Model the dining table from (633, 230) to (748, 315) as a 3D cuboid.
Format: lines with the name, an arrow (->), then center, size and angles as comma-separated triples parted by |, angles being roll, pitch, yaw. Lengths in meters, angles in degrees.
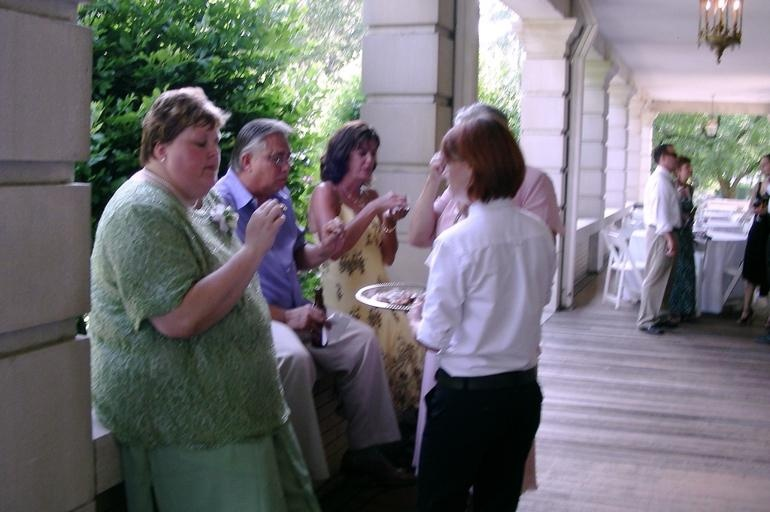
dining table -> 4.581, 0.155, 7.994 | 1.256, 0.860, 1.296 | 9, 20, 36

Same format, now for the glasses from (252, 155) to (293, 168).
glasses -> -0.554, -0.487, 2.874 | 0.126, 0.070, 0.167 | 0, 4, -10

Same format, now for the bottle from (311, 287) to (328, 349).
bottle -> -0.359, 0.329, 3.025 | 0.083, 0.349, 0.100 | 4, 9, 29

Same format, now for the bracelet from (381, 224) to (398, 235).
bracelet -> 0.018, -0.168, 3.512 | 0.089, 0.061, 0.121 | 0, 2, 2

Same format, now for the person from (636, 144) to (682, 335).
person -> 3.447, -0.227, 6.998 | 0.543, 2.340, 0.429 | -6, 12, -41

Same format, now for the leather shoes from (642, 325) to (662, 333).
leather shoes -> 3.352, 0.931, 6.977 | 0.202, 0.088, 0.112 | -2, 2, 38
